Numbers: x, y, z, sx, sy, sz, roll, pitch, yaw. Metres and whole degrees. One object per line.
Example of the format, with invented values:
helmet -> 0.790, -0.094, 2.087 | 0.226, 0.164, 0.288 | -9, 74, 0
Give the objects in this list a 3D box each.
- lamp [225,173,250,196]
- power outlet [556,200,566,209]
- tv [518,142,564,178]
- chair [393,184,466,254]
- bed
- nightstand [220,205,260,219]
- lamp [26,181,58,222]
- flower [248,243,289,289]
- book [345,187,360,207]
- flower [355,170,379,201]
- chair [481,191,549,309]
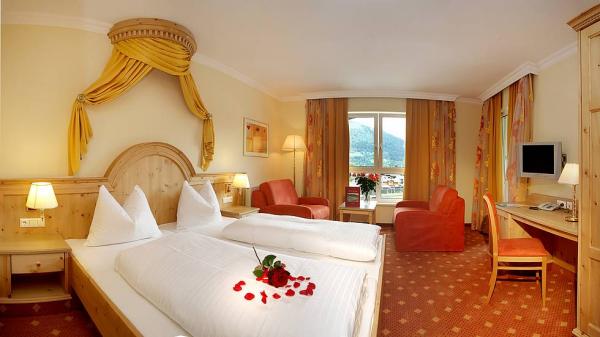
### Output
lamp -> -1.198, 0.305, 7.026 | 0.387, 0.388, 0.414 | 0, 3, -37
power outlet -> 4.408, 0.607, 5.979 | 0.133, 0.125, 0.137 | -5, -20, 13
tv -> 4.238, -0.162, 6.210 | 0.077, 0.628, 0.658 | 0, 1, -32
chair -> 2.581, 0.940, 7.220 | 1.341, 1.203, 1.389 | -1, -5, 14
bed -> -0.979, 0.783, 5.250 | 4.267, 2.606, 3.061 | -2, 0, 27
nightstand -> -1.183, 0.809, 6.710 | 0.336, 0.209, 0.357 | 3, 3, 25
lamp -> -3.746, 0.484, 5.170 | 0.389, 0.539, 0.363 | 6, 12, -9
flower -> -0.376, 1.212, 4.260 | 0.438, 0.206, 0.306 | 18, -6, 44
book -> 1.098, 0.596, 7.401 | 0.423, 0.533, 0.062 | 0, -10, 12
flower -> 1.527, 0.371, 7.944 | 0.611, 0.627, 0.625 | -2, 4, -16
chair -> 3.453, 1.193, 5.657 | 0.773, 1.672, 1.375 | -2, 1, 34
